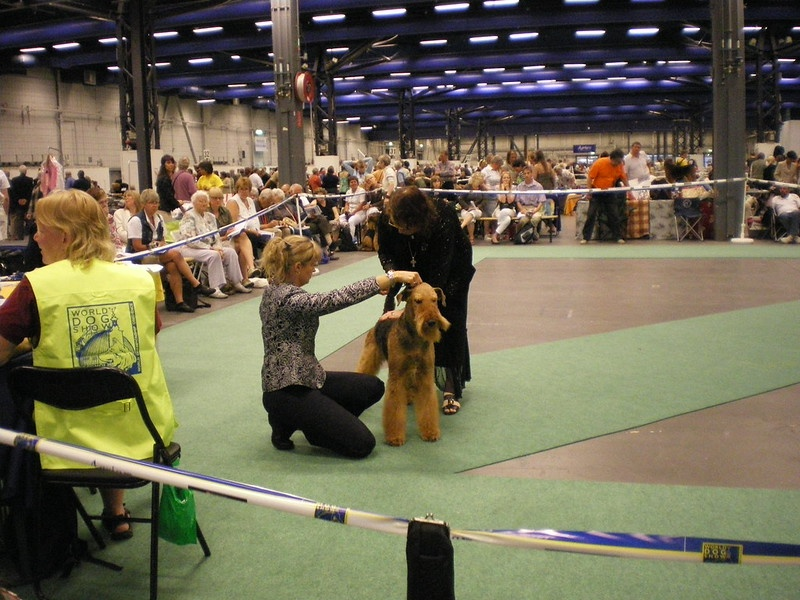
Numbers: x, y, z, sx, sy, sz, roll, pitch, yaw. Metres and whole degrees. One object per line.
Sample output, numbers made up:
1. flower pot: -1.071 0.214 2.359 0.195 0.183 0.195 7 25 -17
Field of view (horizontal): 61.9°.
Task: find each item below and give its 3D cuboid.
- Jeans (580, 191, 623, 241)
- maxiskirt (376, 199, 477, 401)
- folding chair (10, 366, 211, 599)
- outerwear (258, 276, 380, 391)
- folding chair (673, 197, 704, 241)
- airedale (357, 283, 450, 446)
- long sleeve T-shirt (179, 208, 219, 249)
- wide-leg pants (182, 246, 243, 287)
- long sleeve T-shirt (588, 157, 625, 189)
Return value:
1. Jeans: 4.239 -1.686 13.838 0.854 0.440 1.423 -2 49 18
2. maxiskirt: 0.208 -0.055 4.796 0.541 1.434 0.834 7 20 25
3. folding chair: -1.301 0.751 2.922 0.740 1.038 0.520 0 8 12
4. outerwear: -0.472 0.231 3.839 0.737 0.713 0.332 5 11 40
5. folding chair: 5.974 -1.699 13.804 0.570 0.863 0.526 3 9 28
6. airedale: 0.008 0.377 4.433 0.396 1.076 1.116 -2 7 -17
7. long sleeve T-shirt: -2.625 -0.976 8.906 0.290 0.563 0.661 2 9 23
8. wide-leg pants: -2.554 -0.451 9.159 0.559 0.557 0.621 13 13 31
9. long sleeve T-shirt: 4.055 -2.511 13.038 0.700 0.627 0.518 0 9 13
